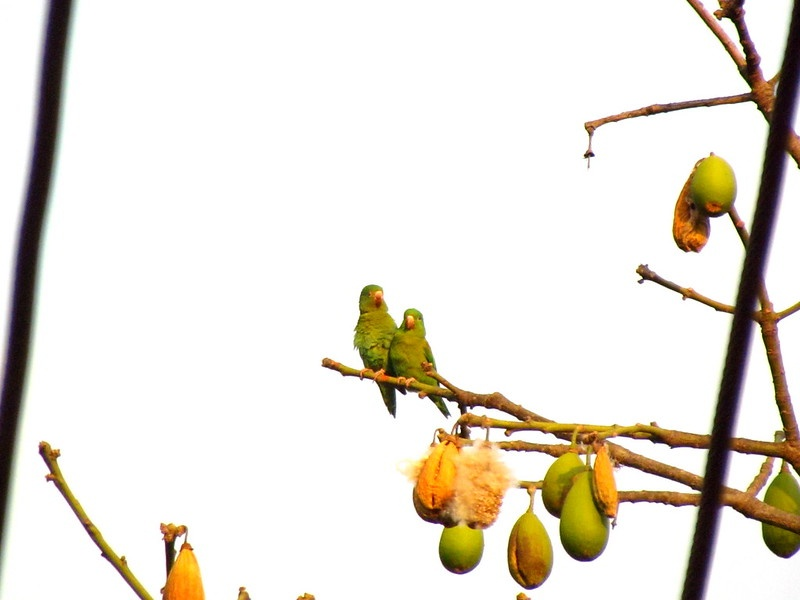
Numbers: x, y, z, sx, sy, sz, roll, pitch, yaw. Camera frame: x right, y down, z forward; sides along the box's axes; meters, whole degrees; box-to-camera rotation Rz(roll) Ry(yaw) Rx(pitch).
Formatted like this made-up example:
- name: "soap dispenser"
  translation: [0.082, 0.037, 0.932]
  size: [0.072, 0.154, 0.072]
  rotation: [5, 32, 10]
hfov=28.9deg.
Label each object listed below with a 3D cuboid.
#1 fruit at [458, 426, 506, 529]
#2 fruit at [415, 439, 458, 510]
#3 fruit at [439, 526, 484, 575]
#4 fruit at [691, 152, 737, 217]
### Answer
- name: "fruit"
  translation: [0.175, 0.407, 3.464]
  size: [0.112, 0.148, 0.112]
  rotation: [4, -39, -6]
- name: "fruit"
  translation: [0.080, 0.389, 3.461]
  size: [0.108, 0.140, 0.072]
  rotation: [-6, -38, 6]
- name: "fruit"
  translation: [0.135, 0.564, 3.469]
  size: [0.092, 0.087, 0.103]
  rotation: [0, -40, -2]
- name: "fruit"
  translation: [0.733, -0.273, 3.628]
  size: [0.094, 0.147, 0.130]
  rotation: [4, -39, -7]
